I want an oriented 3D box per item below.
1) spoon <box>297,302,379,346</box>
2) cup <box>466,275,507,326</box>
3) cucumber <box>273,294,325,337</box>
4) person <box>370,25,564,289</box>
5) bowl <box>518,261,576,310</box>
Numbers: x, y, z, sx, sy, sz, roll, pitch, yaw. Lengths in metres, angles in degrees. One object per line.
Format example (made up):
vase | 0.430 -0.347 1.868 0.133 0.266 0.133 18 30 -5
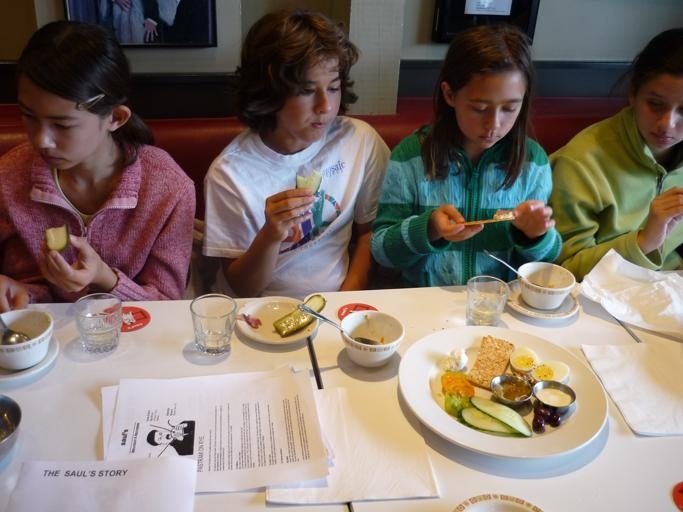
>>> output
spoon | -0.040 0.197 1.559 0.232 0.032 0.050 22 75 24
cup | 0.438 0.140 1.697 0.134 0.168 0.146 0 25 0
cucumber | -0.128 0.196 1.632 0.069 0.052 0.212 32 31 15
person | 0.509 -0.231 2.045 0.761 1.154 0.609 3 35 3
bowl | 0.674 0.092 1.728 0.159 0.102 0.173 4 34 -2
